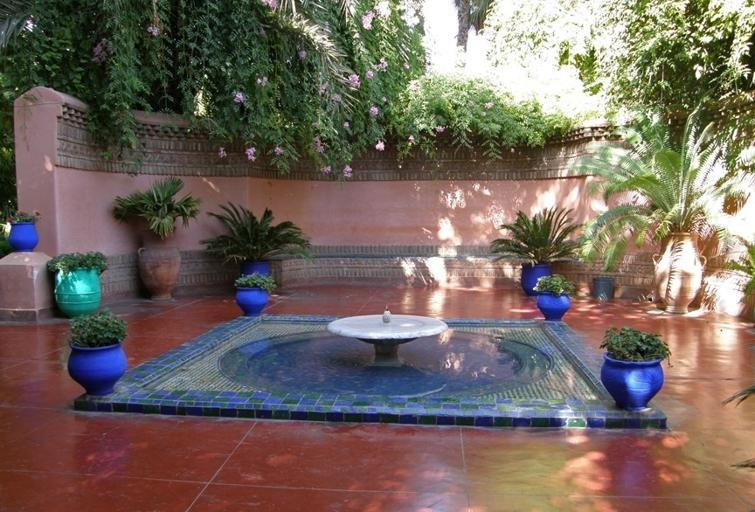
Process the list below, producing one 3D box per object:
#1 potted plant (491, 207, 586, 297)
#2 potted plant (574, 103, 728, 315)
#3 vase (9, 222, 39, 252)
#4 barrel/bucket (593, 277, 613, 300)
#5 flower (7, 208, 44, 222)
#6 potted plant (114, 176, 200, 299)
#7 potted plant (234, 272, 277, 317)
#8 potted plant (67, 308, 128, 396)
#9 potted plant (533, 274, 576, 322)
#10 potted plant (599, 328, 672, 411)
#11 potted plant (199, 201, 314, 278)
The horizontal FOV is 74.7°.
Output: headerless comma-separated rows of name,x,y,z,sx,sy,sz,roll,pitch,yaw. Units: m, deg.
potted plant,3.290,-0.112,10.242,1.878,1.528,1.807,0,5,5
potted plant,5.049,-0.546,8.372,2.631,2.879,2.812,2,0,19
vase,-5.221,-0.292,7.341,0.299,0.451,0.339,6,12,30
barrel/bucket,4.283,0.620,9.401,0.425,0.429,0.413,1,0,0
flower,-5.306,-0.594,7.475,0.377,0.179,0.566,-5,11,-29
potted plant,-3.929,-0.331,9.024,1.098,2.192,1.099,8,13,35
potted plant,-1.793,0.546,7.413,0.708,0.614,0.617,1,1,-2
potted plant,-2.535,0.890,4.510,0.468,0.745,0.335,-6,12,-30
potted plant,2.385,0.590,7.035,0.649,0.640,0.595,0,1,-4
potted plant,2.256,0.995,4.386,0.581,0.674,0.532,0,0,3
potted plant,-2.383,-0.161,10.035,1.933,1.300,1.768,4,-4,1
